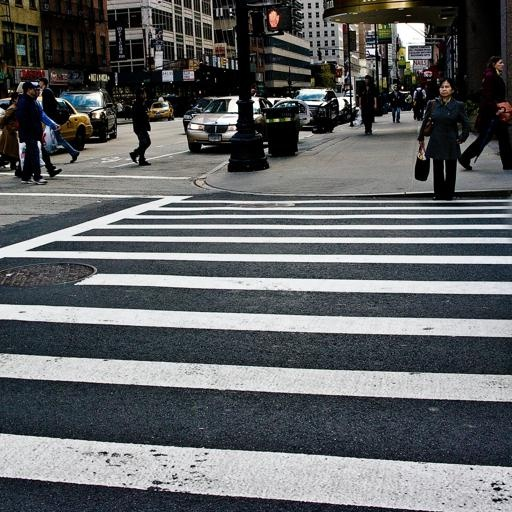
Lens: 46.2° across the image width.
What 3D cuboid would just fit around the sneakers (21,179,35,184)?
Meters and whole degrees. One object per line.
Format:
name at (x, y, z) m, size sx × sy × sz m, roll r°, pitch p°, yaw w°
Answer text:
sneakers at (-5.816, -1.910, 15.184) m, size 0.363 × 0.172 × 0.131 m, roll -3°, pitch 13°, yaw 3°

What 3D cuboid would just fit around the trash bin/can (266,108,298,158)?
trash bin/can at (0.876, -4.111, 20.113) m, size 1.450 × 1.854 × 1.412 m, roll -2°, pitch 0°, yaw -4°

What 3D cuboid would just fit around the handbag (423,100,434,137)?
handbag at (3.072, -2.439, 10.617) m, size 0.144 × 0.524 × 0.354 m, roll 6°, pitch -2°, yaw 15°

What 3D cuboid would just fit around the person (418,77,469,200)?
person at (3.365, -2.064, 10.711) m, size 0.837 × 2.156 × 0.778 m, roll 1°, pitch 10°, yaw 17°

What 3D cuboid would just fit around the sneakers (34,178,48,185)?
sneakers at (-5.434, -1.889, 15.083) m, size 0.309 × 0.157 × 0.136 m, roll -3°, pitch 12°, yaw -8°

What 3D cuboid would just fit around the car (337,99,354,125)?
car at (6.297, -10.217, 41.750) m, size 1.296 × 1.141 × 2.979 m, roll -1°, pitch 14°, yaw 8°

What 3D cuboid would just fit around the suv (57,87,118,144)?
suv at (-8.116, -7.167, 29.776) m, size 1.683 × 1.625 × 3.660 m, roll 0°, pitch 9°, yaw 0°
